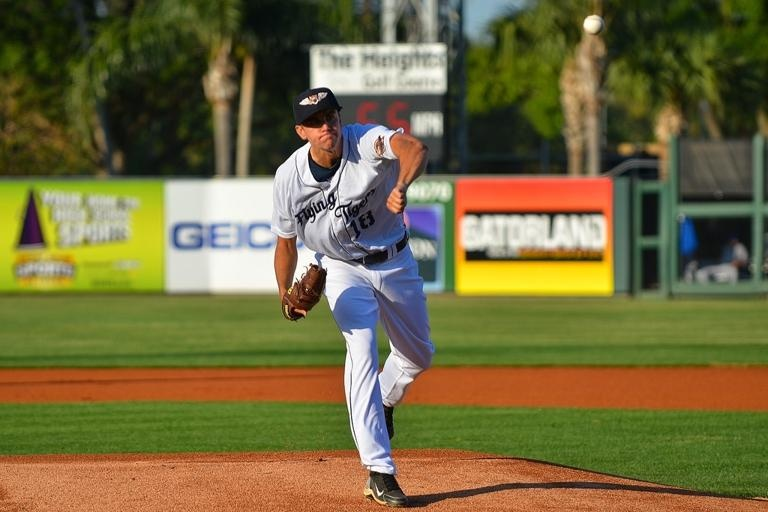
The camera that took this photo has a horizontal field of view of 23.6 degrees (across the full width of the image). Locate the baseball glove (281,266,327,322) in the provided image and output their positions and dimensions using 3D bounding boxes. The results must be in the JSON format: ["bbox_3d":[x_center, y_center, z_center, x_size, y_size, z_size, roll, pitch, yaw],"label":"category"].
[{"bbox_3d":[-1.041,0.487,24.305,0.454,0.787,0.356,33,-3,-7],"label":"baseball glove"}]
